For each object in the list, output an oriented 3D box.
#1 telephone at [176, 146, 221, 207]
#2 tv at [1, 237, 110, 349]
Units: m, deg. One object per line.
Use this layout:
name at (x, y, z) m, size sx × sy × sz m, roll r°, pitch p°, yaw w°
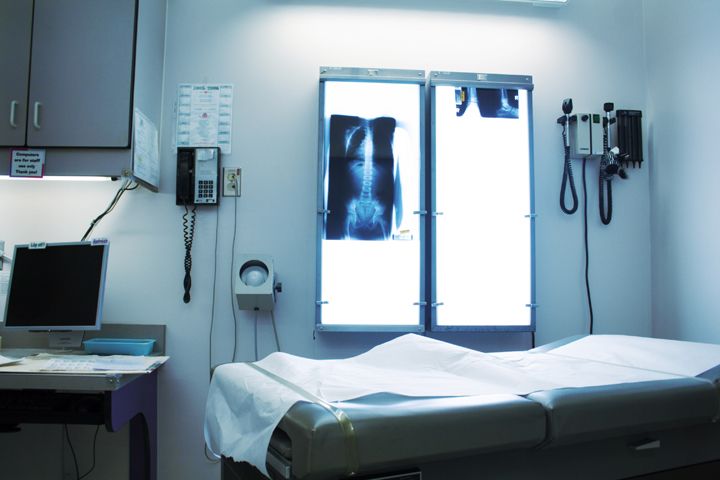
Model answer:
telephone at (-1.167, -0.462, 4.211) m, size 0.371 × 0.563 × 0.189 m, roll 0°, pitch -3°, yaw -6°
tv at (-2.100, 0.386, 4.045) m, size 0.655 × 0.729 × 0.240 m, roll 3°, pitch -9°, yaw 2°
